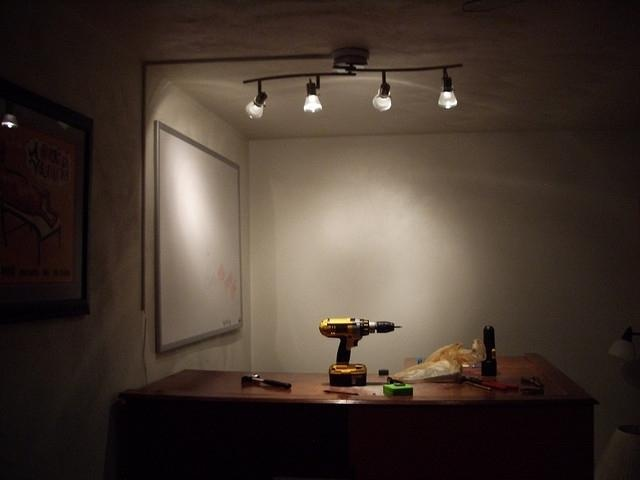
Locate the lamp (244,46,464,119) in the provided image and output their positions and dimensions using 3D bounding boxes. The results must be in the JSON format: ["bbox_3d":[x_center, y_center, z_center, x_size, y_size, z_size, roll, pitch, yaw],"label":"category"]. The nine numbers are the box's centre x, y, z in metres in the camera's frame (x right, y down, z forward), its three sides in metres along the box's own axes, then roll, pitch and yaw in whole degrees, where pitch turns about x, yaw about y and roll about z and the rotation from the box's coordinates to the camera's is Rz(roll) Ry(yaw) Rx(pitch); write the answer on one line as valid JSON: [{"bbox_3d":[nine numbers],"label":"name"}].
[{"bbox_3d":[0.192,-0.925,3.237,1.340,0.333,0.744,1,4,16],"label":"lamp"}]
